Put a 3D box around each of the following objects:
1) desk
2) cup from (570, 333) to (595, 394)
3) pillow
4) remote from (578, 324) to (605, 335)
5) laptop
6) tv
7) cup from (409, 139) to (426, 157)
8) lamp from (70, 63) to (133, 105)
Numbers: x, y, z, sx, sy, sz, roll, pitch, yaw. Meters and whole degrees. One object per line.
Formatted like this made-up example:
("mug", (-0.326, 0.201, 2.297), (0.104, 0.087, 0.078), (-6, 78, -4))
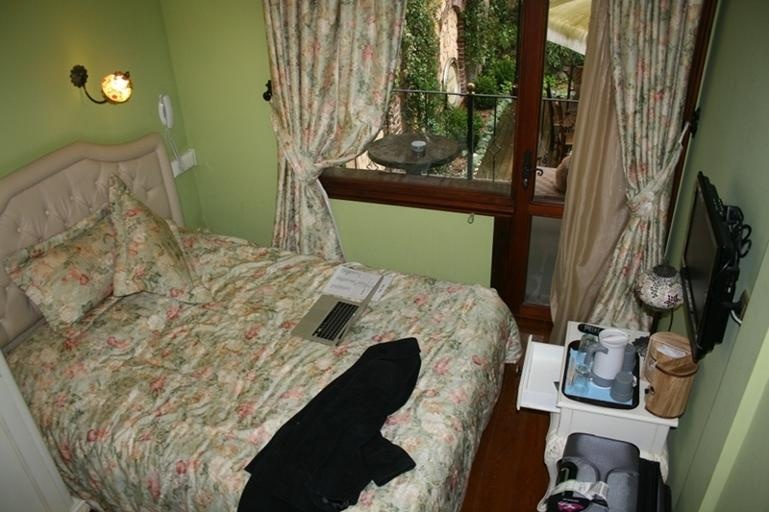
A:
("desk", (1.259, 1.014, 3.599), (0.915, 0.933, 1.022), (7, 54, 9))
("cup", (1.197, 0.665, 3.221), (0.165, 0.312, 0.303), (7, 27, 23))
("pillow", (-1.810, 0.094, 3.508), (0.987, 0.298, 0.989), (46, 57, 3))
("remote", (1.320, 0.473, 3.444), (0.193, 0.057, 0.054), (9, 42, 19))
("laptop", (-0.291, 0.272, 3.534), (0.495, 0.371, 0.595), (15, 24, 9))
("tv", (1.633, 0.075, 2.668), (0.122, 0.664, 0.882), (2, 33, 25))
("cup", (0.263, -0.868, 4.289), (0.114, 0.089, 0.117), (-4, 42, 4))
("lamp", (-2.015, -1.211, 3.801), (0.389, 0.176, 0.276), (19, 45, -25))
